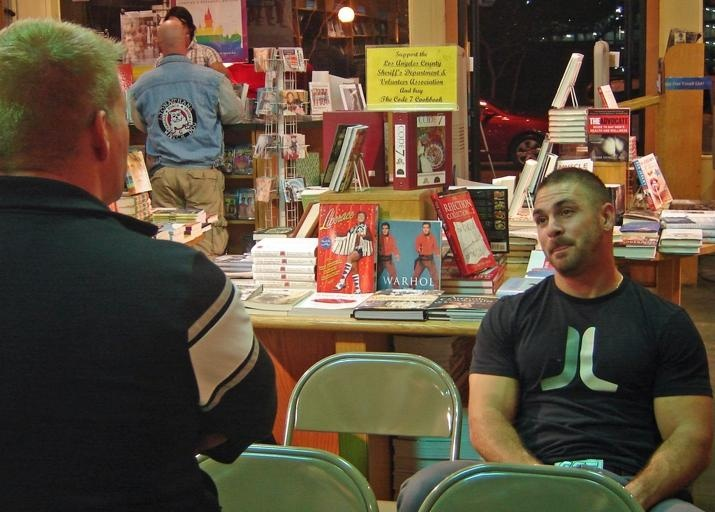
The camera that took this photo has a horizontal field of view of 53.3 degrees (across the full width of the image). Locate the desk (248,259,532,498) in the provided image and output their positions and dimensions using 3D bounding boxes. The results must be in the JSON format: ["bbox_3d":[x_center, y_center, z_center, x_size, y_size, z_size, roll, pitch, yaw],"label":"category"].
[{"bbox_3d":[0.072,0.514,3.361,0.821,0.809,0.858,2,12,12],"label":"desk"}]

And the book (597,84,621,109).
[{"bbox_3d":[1.715,-1.093,4.971,0.192,0.194,0.043,-3,-17,-42],"label":"book"}]

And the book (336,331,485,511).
[{"bbox_3d":[0.214,0.664,3.111,0.564,1.042,0.753,0,1,6],"label":"book"}]

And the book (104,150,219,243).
[{"bbox_3d":[-1.105,-0.315,4.039,0.525,0.242,0.702,2,7,3],"label":"book"}]
